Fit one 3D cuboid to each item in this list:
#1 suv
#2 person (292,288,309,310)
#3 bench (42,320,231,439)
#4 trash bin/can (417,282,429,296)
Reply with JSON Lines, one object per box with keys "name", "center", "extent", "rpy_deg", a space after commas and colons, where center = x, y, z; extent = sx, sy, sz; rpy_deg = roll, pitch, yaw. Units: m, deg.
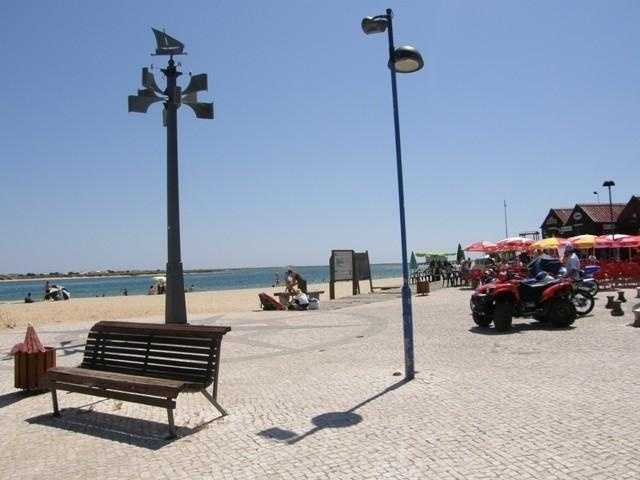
{"name": "suv", "center": [4.928, 1.491, 13.246], "extent": [2.116, 0.962, 1.282], "rpy_deg": [2, -3, -10]}
{"name": "person", "center": [-0.885, 2.318, 21.449], "extent": [0.709, 0.580, 2.408], "rpy_deg": [-2, 0, -10]}
{"name": "bench", "center": [-2.468, 1.781, 7.370], "extent": [2.348, 1.058, 1.105], "rpy_deg": [-1, 0, 27]}
{"name": "trash bin/can", "center": [4.773, 2.195, 24.967], "extent": [0.605, 0.569, 0.587], "rpy_deg": [-1, -5, 2]}
